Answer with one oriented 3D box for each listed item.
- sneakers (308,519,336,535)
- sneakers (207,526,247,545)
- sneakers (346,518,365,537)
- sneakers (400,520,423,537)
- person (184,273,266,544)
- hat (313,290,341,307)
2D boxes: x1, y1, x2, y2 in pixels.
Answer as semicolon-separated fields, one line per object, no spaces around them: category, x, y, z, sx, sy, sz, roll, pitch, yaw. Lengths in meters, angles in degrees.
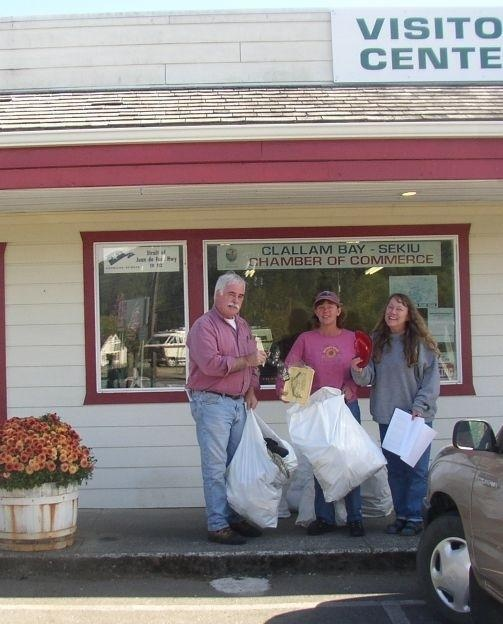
sneakers;0.533;1.725;6.326;0.278;0.104;0.099;4;-4;-28
sneakers;-0.201;1.724;6.045;0.288;0.101;0.108;-5;-6;23
sneakers;0.807;1.705;6.179;0.116;0.114;0.136;0;7;13
sneakers;1.241;1.714;6.199;0.088;0.085;0.229;-4;-10;25
person;-0.207;0.749;6.172;0.599;2.104;0.678;-2;7;-4
hat;0.603;-0.107;6.387;0.200;0.139;0.155;-1;7;1
